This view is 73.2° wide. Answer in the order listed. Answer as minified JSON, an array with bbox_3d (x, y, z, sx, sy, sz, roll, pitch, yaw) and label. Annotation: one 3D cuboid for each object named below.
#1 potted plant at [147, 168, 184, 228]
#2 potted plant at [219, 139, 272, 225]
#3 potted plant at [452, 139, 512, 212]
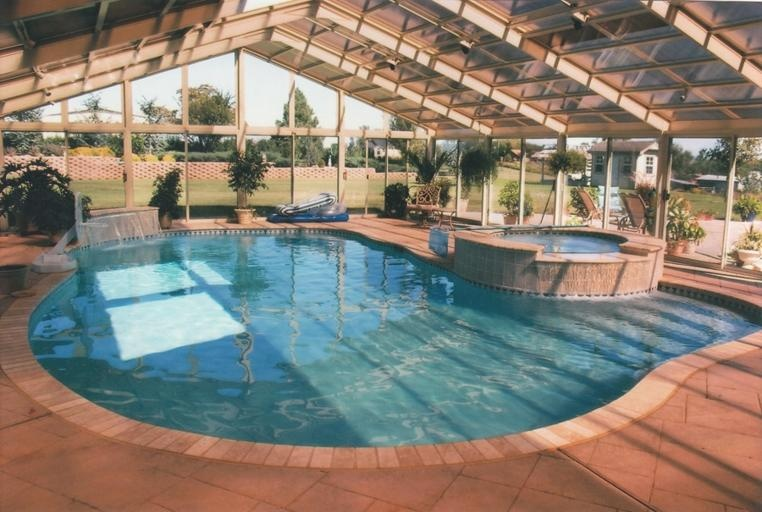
[{"bbox_3d":[-7.267,-1.946,17.456,0.980,1.940,1.528,-3,16,-15],"label":"potted plant"},{"bbox_3d":[-4.880,-2.656,19.021,1.470,2.795,1.736,-2,16,-11],"label":"potted plant"},{"bbox_3d":[3.493,-3.308,18.789,2.347,1.476,2.015,0,7,-6],"label":"potted plant"}]
